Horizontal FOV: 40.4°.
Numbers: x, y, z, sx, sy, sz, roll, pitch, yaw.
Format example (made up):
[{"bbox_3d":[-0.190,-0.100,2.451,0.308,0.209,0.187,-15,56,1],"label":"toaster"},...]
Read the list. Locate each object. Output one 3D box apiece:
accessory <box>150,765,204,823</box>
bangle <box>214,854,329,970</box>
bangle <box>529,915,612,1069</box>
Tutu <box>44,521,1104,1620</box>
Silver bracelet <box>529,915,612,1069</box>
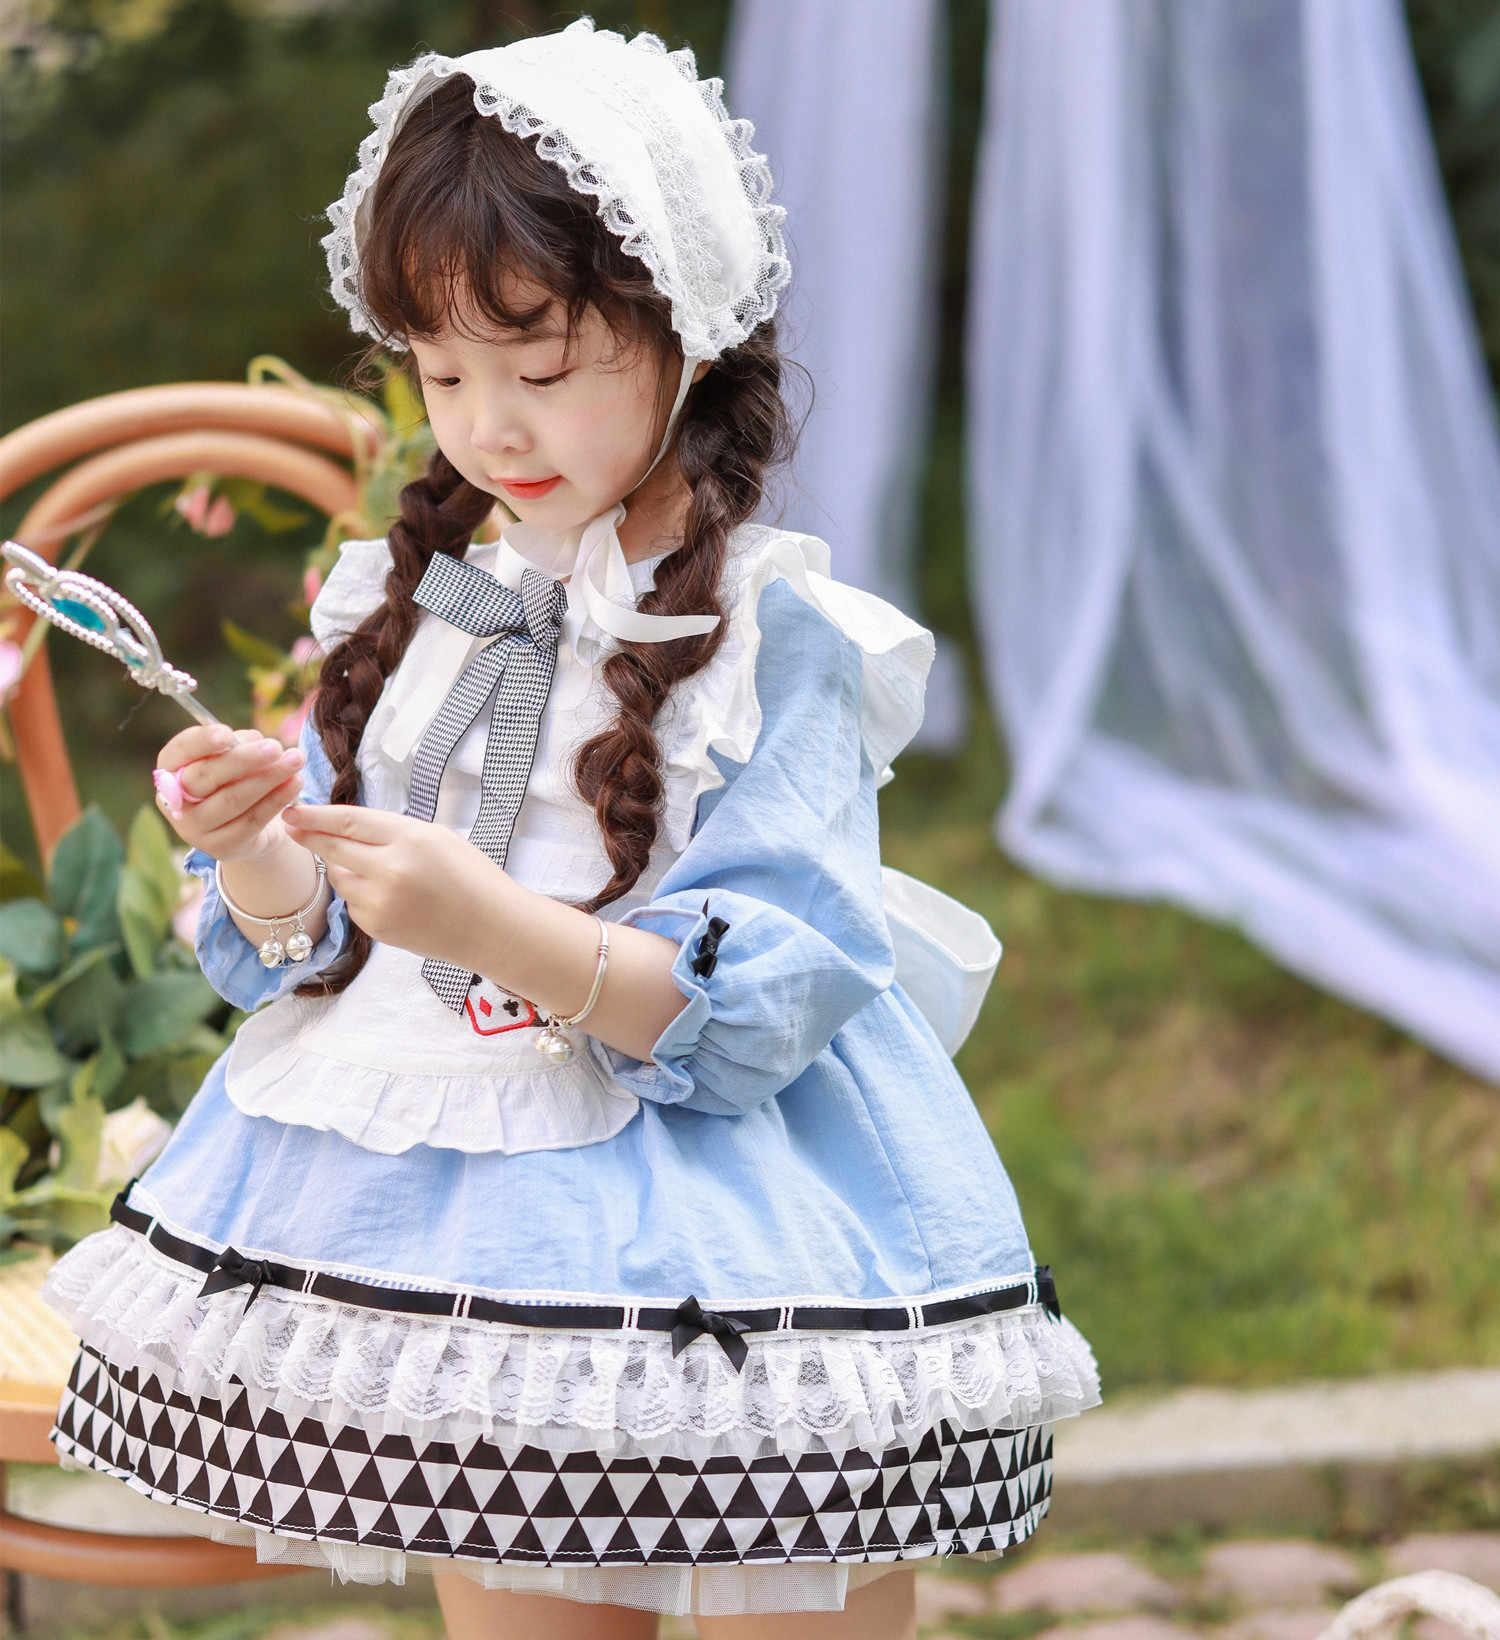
[{"bbox_3d":[-0.343,-0.015,1.212,0.019,0.035,0.040,-4,18,-6],"label":"accessory"},{"bbox_3d":[-0.286,0.063,1.281,0.068,0.074,0.026,-4,-14,-16],"label":"bangle"},{"bbox_3d":[-0.105,0.097,1.182,0.037,0.109,0.060,12,19,-18],"label":"bangle"},{"bbox_3d":[0.008,0.082,1.391,0.676,0.679,0.796,-7,19,-21],"label":"Tutu"},{"bbox_3d":[-0.105,0.097,1.182,0.037,0.109,0.060,12,19,-18],"label":"Silver bracelet"}]
